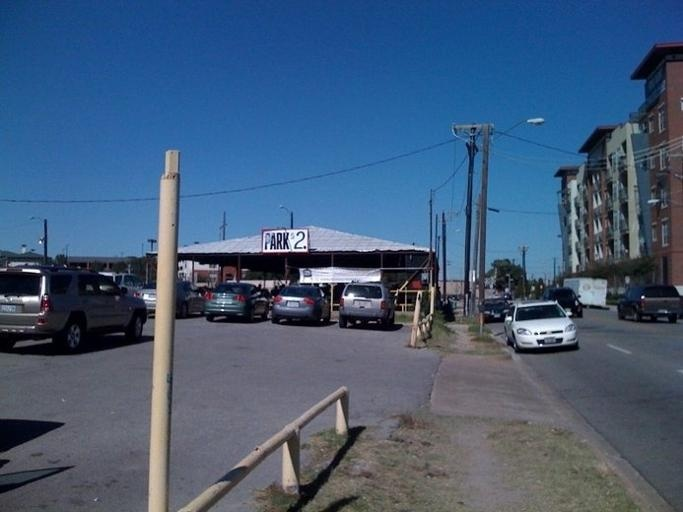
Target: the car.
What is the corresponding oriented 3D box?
[{"bbox_3d":[6.285,2.192,19.209,2.090,1.578,2.533,-2,-6,18],"label":"car"}]
